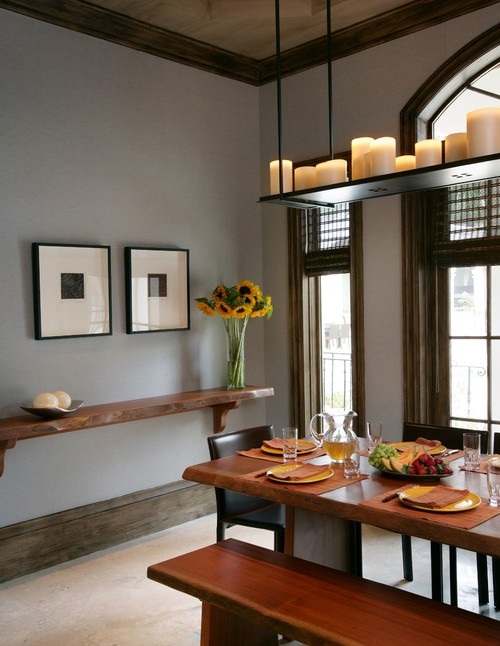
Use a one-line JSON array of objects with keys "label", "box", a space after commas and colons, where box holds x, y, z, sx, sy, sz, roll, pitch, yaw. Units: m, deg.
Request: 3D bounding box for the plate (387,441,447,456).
[{"label": "plate", "box": [0.712, 0.524, 2.324, 0.119, 0.013, 0.127, -3, -1, 41]}]

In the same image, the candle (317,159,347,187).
[{"label": "candle", "box": [0.298, -0.555, 2.066, 0.115, 0.082, 0.113, -6, -5, 1]}]

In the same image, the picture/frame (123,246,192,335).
[{"label": "picture/frame", "box": [-0.599, -0.214, 3.443, 0.074, 0.676, 0.606, 0, 0, 43]}]

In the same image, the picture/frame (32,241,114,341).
[{"label": "picture/frame", "box": [-0.993, -0.180, 3.017, 0.071, 0.664, 0.587, 0, 0, 38]}]

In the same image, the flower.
[{"label": "flower", "box": [-0.101, -0.146, 3.514, 0.480, 0.231, 0.266, -1, -1, -4]}]

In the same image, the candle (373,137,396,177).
[{"label": "candle", "box": [0.449, -0.563, 1.851, 0.073, 0.148, 0.084, -2, -1, 12]}]

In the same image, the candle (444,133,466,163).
[{"label": "candle", "box": [0.650, -0.556, 1.741, 0.063, 0.078, 0.120, -2, -1, 20]}]

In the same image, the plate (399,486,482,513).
[{"label": "plate", "box": [0.558, 0.512, 1.623, 0.225, 0.042, 0.256, -2, -1, 19]}]

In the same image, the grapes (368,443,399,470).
[{"label": "grapes", "box": [0.492, 0.483, 1.989, 0.088, 0.082, 0.102, 10, -14, -25]}]

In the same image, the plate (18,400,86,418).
[{"label": "plate", "box": [-0.986, 0.435, 2.764, 0.236, 0.073, 0.292, -1, -1, -7]}]

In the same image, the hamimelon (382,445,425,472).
[{"label": "hamimelon", "box": [0.561, 0.469, 1.983, 0.087, 0.063, 0.180, -3, 2, 40]}]
